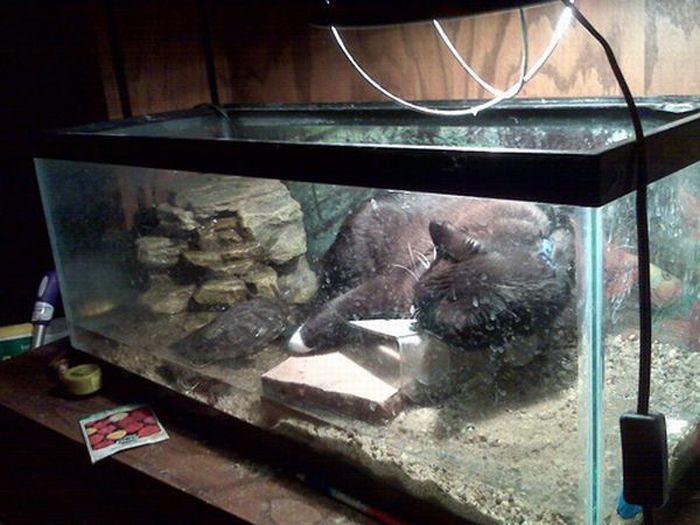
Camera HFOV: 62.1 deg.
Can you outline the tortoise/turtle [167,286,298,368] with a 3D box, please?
[{"bbox_3d":[-0.213,0.091,1.283,0.225,0.133,0.326,16,25,37],"label":"tortoise/turtle"}]
